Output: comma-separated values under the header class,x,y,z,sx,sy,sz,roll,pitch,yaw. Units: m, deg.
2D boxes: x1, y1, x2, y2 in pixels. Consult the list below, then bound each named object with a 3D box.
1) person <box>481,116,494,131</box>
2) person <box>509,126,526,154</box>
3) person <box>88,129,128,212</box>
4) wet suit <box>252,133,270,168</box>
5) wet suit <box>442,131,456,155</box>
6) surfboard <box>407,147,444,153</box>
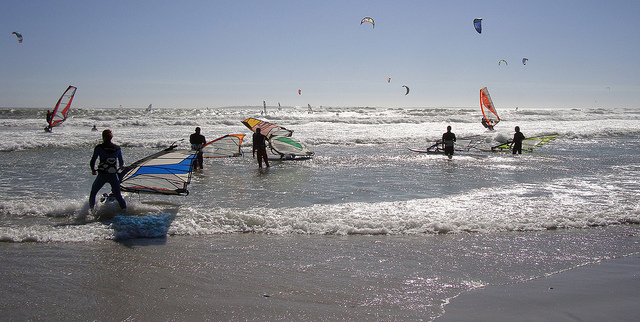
class,x,y,z,sx,sy,sz,roll,pitch,yaw
person,12.993,-2.966,36.614,0.676,0.964,1.154,-1,4,18
person,10.720,-1.129,25.668,0.702,1.433,1.520,-1,4,19
person,-6.872,0.316,15.306,1.158,2.662,1.318,-4,4,-23
wet suit,-2.656,-0.505,21.905,0.666,1.567,0.807,-3,4,-8
wet suit,6.571,-0.910,23.990,0.543,1.194,0.954,-1,4,12
surfboard,5.831,-0.588,26.436,0.545,0.212,2.340,-4,9,-25
